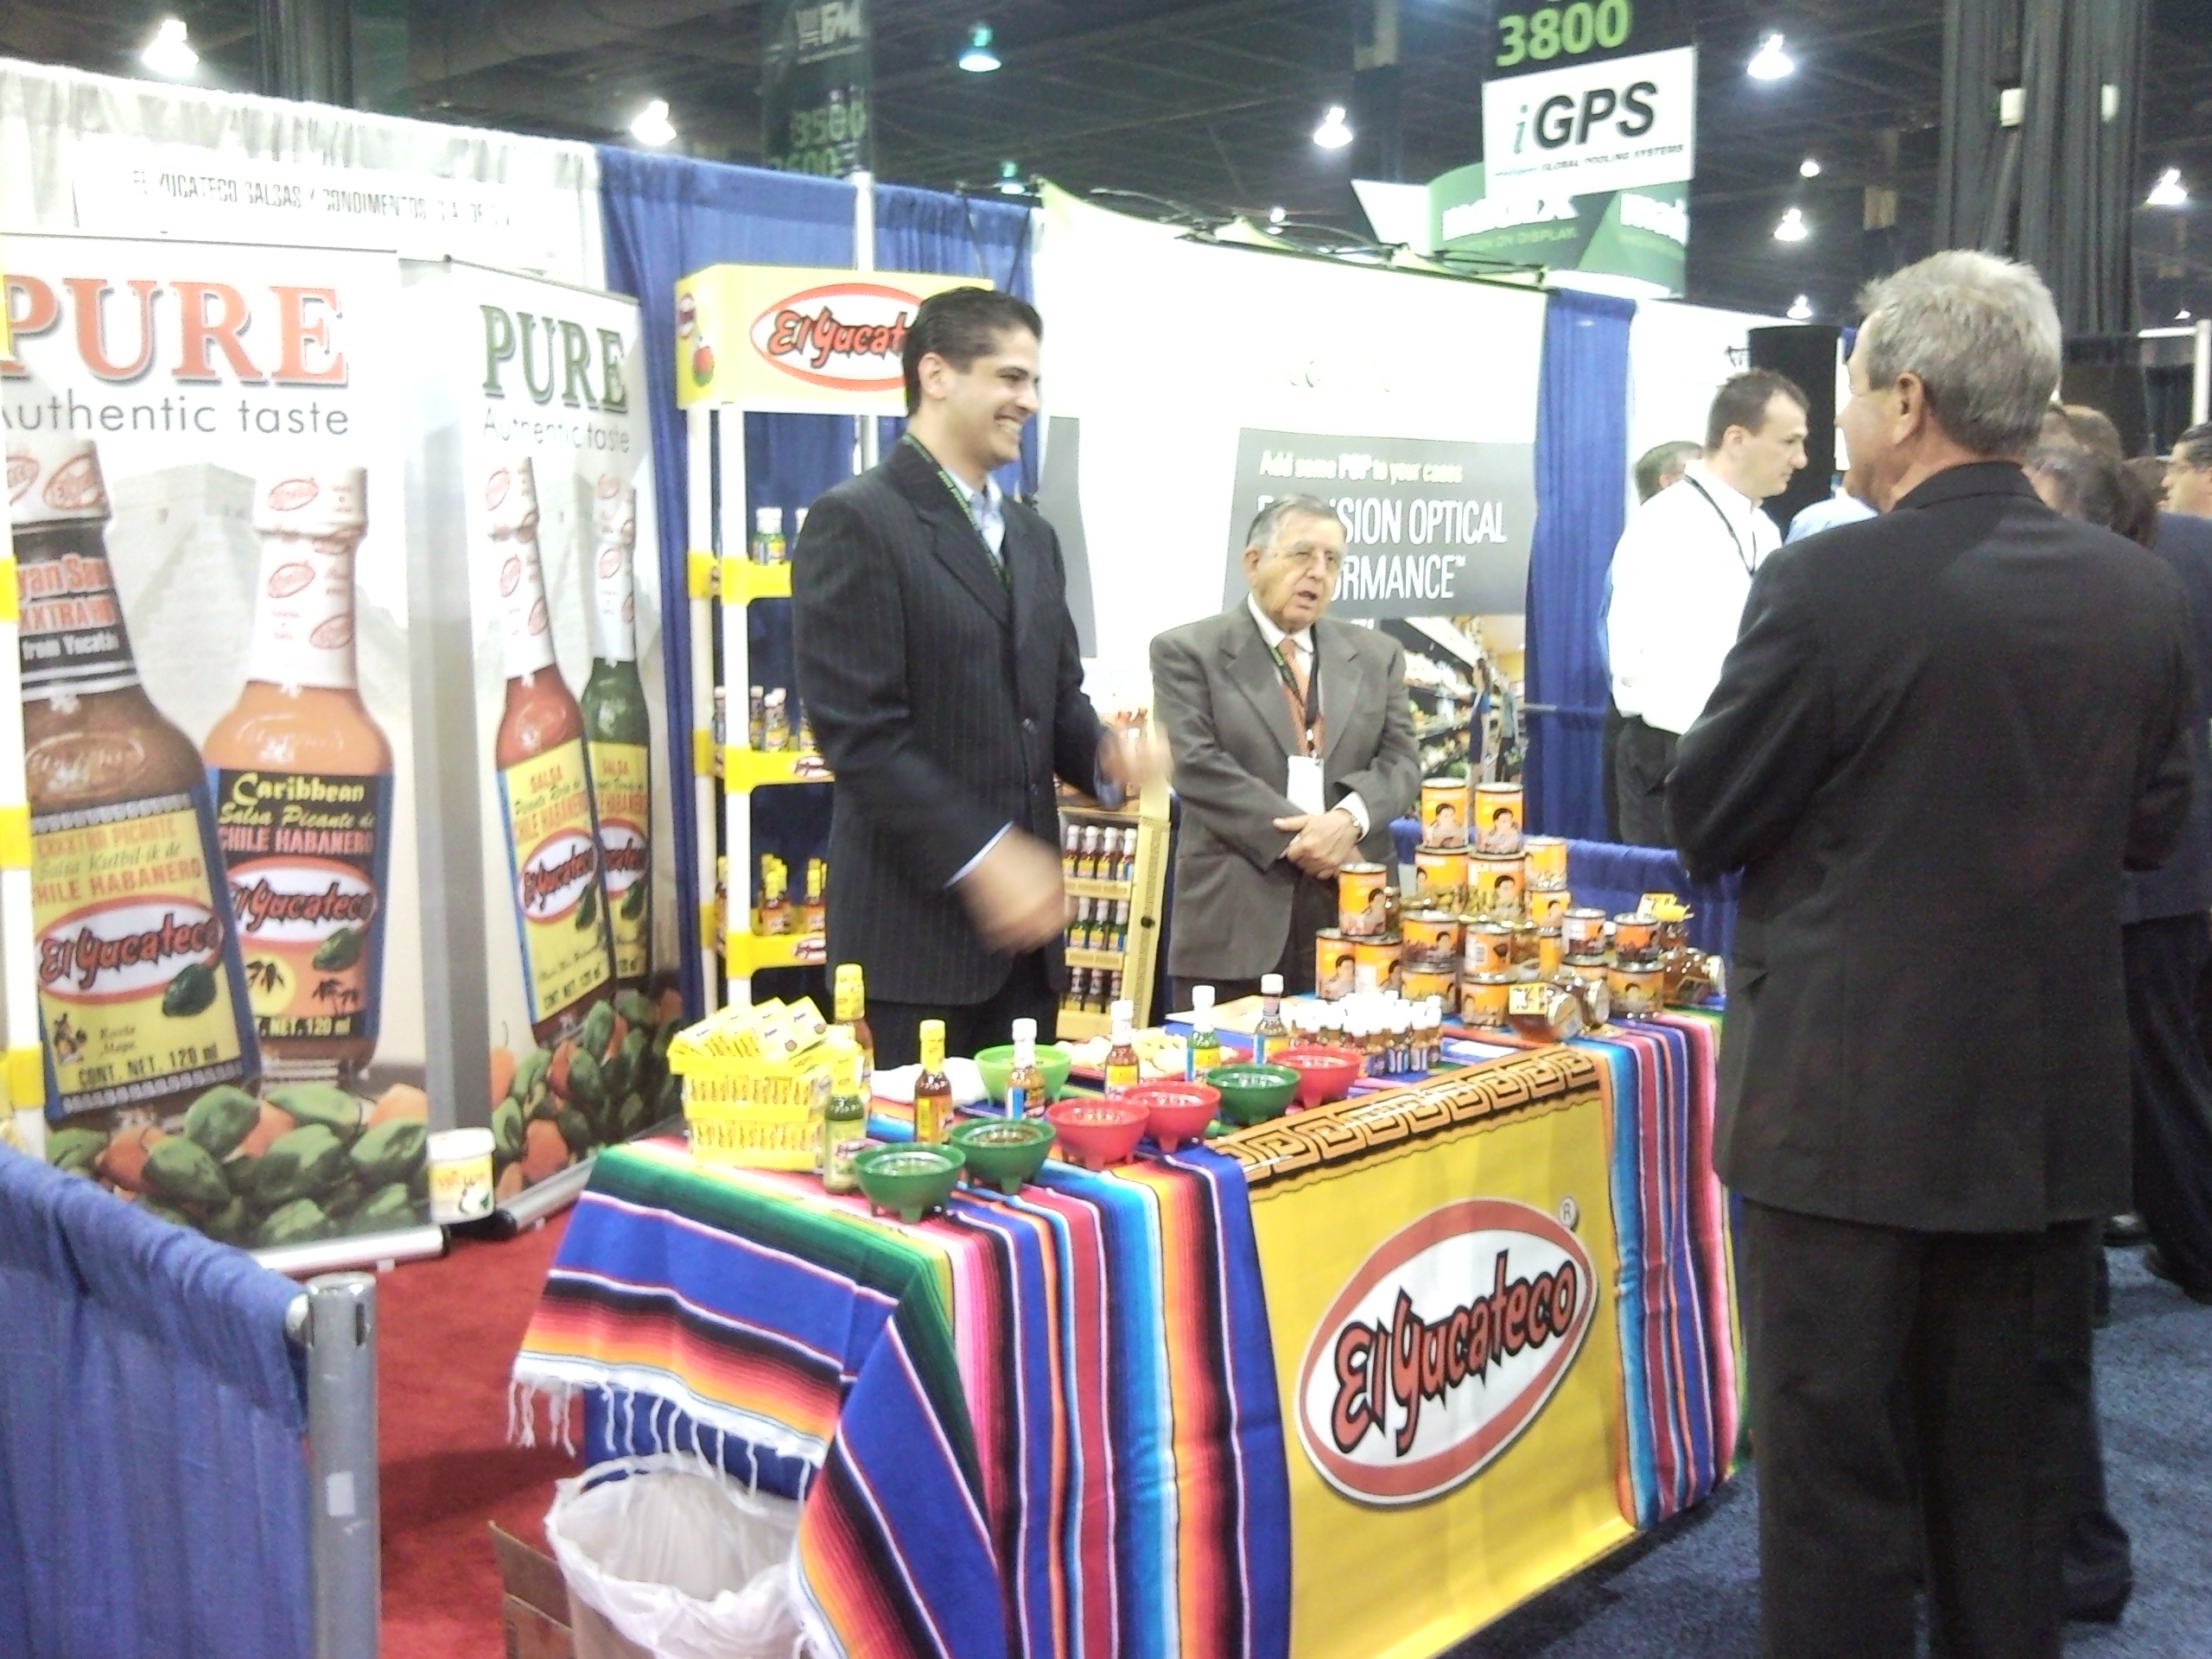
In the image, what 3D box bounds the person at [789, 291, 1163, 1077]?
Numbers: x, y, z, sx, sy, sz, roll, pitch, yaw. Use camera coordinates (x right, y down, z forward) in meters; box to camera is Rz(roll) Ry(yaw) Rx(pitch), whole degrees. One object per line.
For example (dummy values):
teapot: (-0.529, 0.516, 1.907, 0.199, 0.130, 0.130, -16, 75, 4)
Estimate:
person: (-0.207, -0.237, 3.315, 0.604, 1.297, 0.471, -4, 9, -18)
